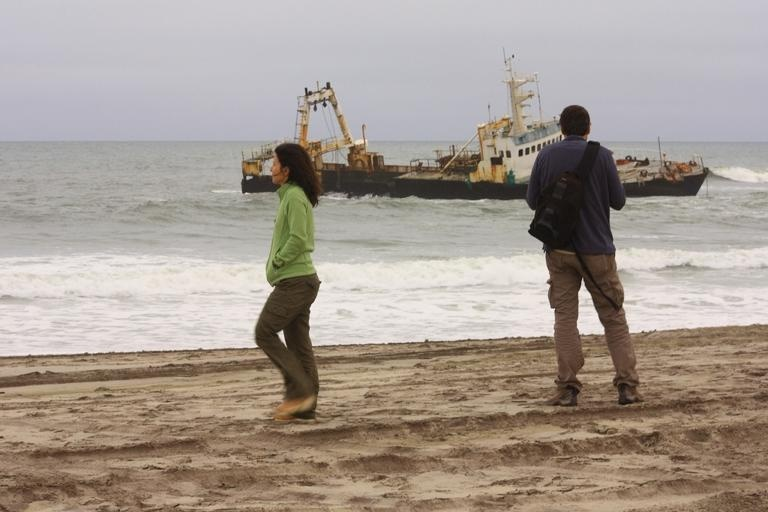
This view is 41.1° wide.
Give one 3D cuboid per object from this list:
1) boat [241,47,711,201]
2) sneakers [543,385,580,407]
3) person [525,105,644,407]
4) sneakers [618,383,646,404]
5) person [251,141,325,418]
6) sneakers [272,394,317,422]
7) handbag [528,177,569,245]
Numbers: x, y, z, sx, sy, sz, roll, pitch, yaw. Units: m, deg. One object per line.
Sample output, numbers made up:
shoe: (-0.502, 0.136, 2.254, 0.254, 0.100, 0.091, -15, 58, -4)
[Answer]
boat: (3.334, -4.492, 37.939, 17.549, 4.772, 3.117, 2, 17, 23)
sneakers: (1.892, 1.469, 10.723, 0.439, 0.235, 0.161, 1, 0, 9)
person: (2.086, -0.019, 10.733, 1.133, 3.080, 0.824, -1, 12, 7)
sneakers: (2.564, 1.445, 10.739, 0.139, 0.208, 0.354, 2, 8, 37)
person: (-0.985, 0.235, 10.697, 0.755, 2.829, 0.854, -3, 12, -4)
sneakers: (-0.904, 1.578, 10.596, 0.556, 0.191, 0.184, 1, 3, -11)
handbag: (1.710, -0.461, 10.675, 0.397, 0.733, 0.221, 0, 12, 9)
